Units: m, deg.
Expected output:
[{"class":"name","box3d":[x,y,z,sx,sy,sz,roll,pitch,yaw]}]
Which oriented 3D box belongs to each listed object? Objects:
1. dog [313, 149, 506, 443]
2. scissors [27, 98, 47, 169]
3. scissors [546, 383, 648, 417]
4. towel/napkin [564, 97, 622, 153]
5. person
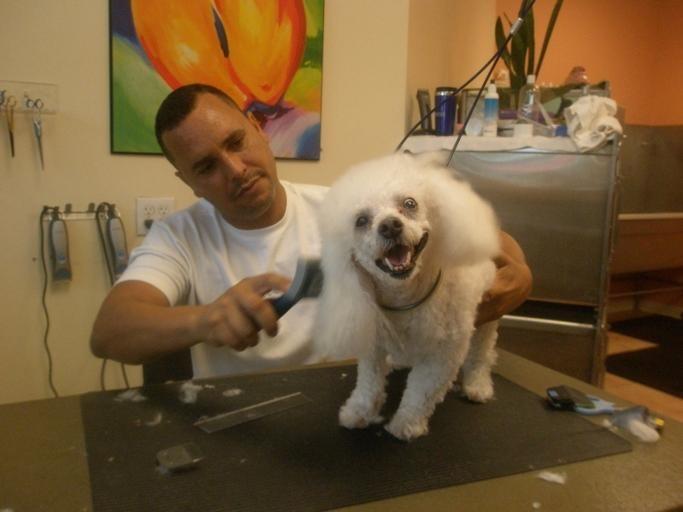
[{"class":"dog","box3d":[0.229,0.085,1.720,0.486,0.763,0.721,5,12,37]},{"class":"scissors","box3d":[-1.215,-0.517,2.405,0.072,0.220,0.018,-20,26,-36]},{"class":"scissors","box3d":[0.672,0.407,1.670,0.162,0.027,0.103,5,10,-1]},{"class":"towel/napkin","box3d":[1.135,-0.602,2.716,0.228,0.240,0.150,1,16,5]},{"class":"person","box3d":[-0.111,-0.162,1.983,1.407,0.701,0.883,-18,7,-32]}]
